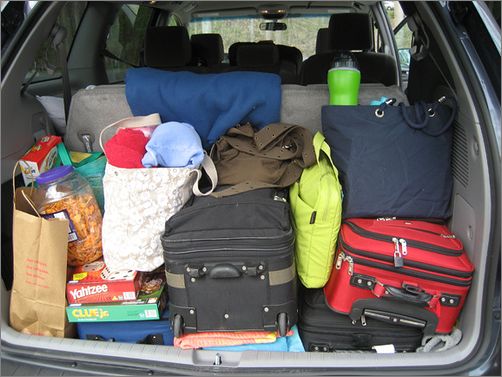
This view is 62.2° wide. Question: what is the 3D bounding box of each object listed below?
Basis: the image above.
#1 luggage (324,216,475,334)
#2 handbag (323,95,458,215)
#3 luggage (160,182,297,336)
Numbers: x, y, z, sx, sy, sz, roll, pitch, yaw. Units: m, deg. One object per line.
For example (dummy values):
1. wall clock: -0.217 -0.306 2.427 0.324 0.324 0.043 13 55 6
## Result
1. luggage: 0.561 0.210 1.595 0.409 0.334 0.416 6 26 2
2. handbag: 0.554 -0.114 1.618 0.405 0.432 0.166 -1 5 3
3. luggage: -0.081 0.264 1.579 0.367 0.384 0.543 -1 34 4
